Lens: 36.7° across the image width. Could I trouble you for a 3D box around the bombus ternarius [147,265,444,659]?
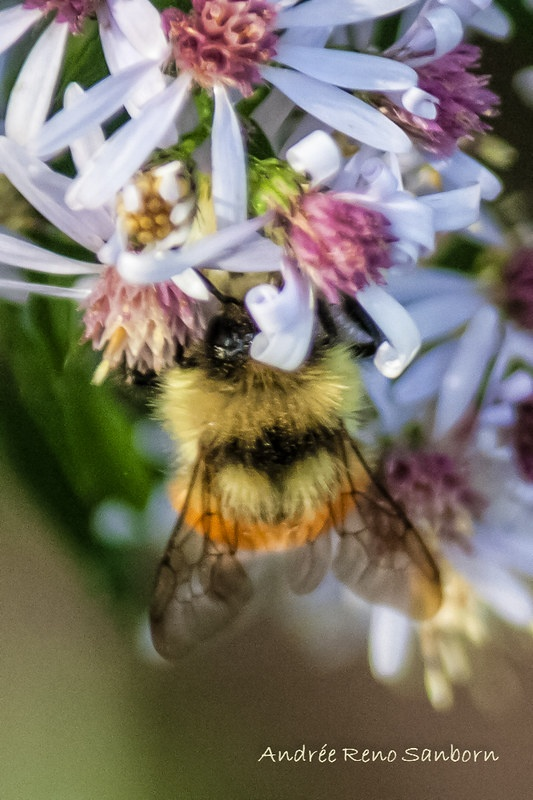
[{"bbox_3d":[0.009,0.052,0.532,0.215,0.254,0.080,-5,18,-2],"label":"bombus ternarius"}]
